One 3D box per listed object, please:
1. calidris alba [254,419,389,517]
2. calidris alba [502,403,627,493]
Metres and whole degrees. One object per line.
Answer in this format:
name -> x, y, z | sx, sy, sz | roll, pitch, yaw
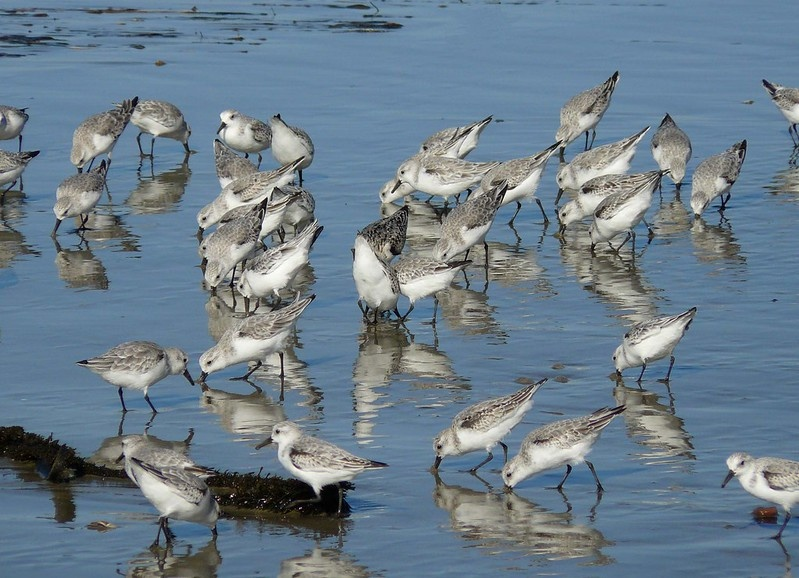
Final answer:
calidris alba -> -1.138, 2.426, 14.303 | 1.089, 1.083, 1.207 | -16, 56, -20
calidris alba -> 2.306, 2.374, 14.692 | 0.910, 1.691, 1.360 | 31, 56, 9
